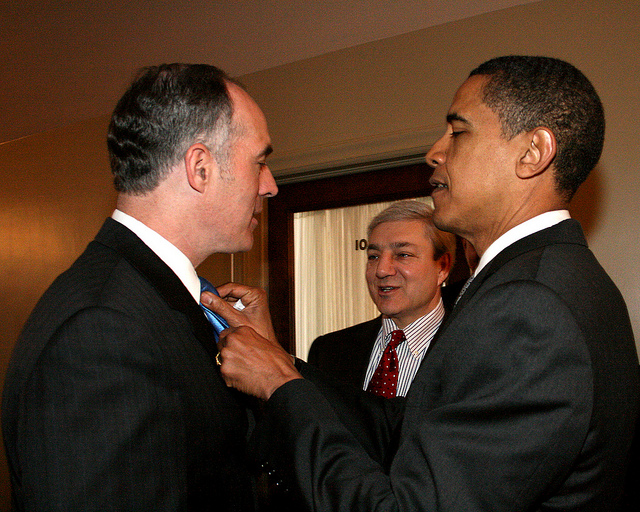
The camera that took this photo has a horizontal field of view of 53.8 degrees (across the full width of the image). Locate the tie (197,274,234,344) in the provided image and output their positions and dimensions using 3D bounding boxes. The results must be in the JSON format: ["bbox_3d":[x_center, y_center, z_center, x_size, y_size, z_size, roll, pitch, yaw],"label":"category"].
[{"bbox_3d":[-0.274,0.140,1.652,0.098,0.158,0.049,-1,19,18],"label":"tie"}]

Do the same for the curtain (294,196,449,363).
[{"bbox_3d":[0.234,0.111,2.763,0.787,0.971,0.074,-1,-2,24],"label":"curtain"}]

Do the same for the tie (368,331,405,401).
[{"bbox_3d":[0.247,0.424,2.379,0.134,0.322,0.070,20,-44,-11],"label":"tie"}]

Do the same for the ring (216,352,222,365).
[{"bbox_3d":[-0.248,0.253,1.534,0.008,0.027,0.012,2,-16,-15],"label":"ring"}]
